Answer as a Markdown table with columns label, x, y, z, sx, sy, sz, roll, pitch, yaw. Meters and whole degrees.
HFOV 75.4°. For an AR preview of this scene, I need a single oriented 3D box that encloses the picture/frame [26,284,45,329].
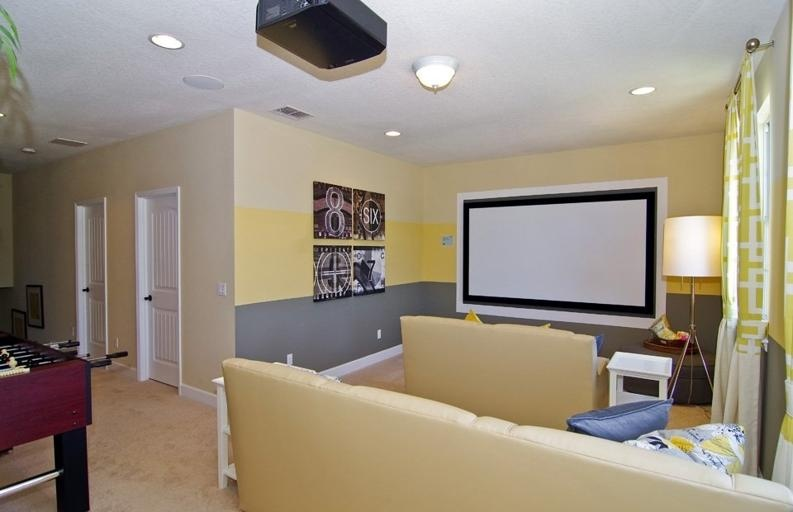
| label | x | y | z | sx | sy | sz | roll | pitch | yaw |
| --- | --- | --- | --- | --- | --- | --- | --- | --- | --- |
| picture/frame | -5.470 | 0.762 | 7.766 | 0.061 | 0.806 | 0.686 | 0 | -1 | -41 |

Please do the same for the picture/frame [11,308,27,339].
| label | x | y | z | sx | sy | sz | roll | pitch | yaw |
| --- | --- | --- | --- | --- | --- | --- | --- | --- | --- |
| picture/frame | -5.754 | 1.022 | 7.819 | 0.474 | 0.552 | 0.036 | -2 | -3 | 31 |

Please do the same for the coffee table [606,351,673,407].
| label | x | y | z | sx | sy | sz | roll | pitch | yaw |
| --- | --- | --- | --- | --- | --- | --- | --- | --- | --- |
| coffee table | 2.275 | 1.094 | 4.822 | 0.557 | 0.517 | 0.571 | 0 | 0 | 32 |

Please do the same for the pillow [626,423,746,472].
| label | x | y | z | sx | sy | sz | roll | pitch | yaw |
| --- | --- | --- | --- | --- | --- | --- | --- | --- | --- |
| pillow | 1.943 | 1.200 | 3.260 | 0.466 | 0.136 | 0.431 | -7 | 4 | -35 |

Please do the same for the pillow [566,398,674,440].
| label | x | y | z | sx | sy | sz | roll | pitch | yaw |
| --- | --- | --- | --- | --- | --- | --- | --- | --- | --- |
| pillow | 1.515 | 1.121 | 3.452 | 0.609 | 0.204 | 0.232 | -13 | 24 | 8 |

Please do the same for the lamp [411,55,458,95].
| label | x | y | z | sx | sy | sz | roll | pitch | yaw |
| --- | --- | --- | --- | --- | --- | --- | --- | --- | --- |
| lamp | 0.360 | -1.636 | 4.674 | 0.418 | 0.306 | 0.282 | -1 | -1 | -1 |

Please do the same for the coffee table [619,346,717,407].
| label | x | y | z | sx | sy | sz | roll | pitch | yaw |
| --- | --- | --- | --- | --- | --- | --- | --- | --- | --- |
| coffee table | 2.812 | 1.256 | 5.260 | 0.722 | 0.352 | 0.736 | -1 | -2 | 35 |
